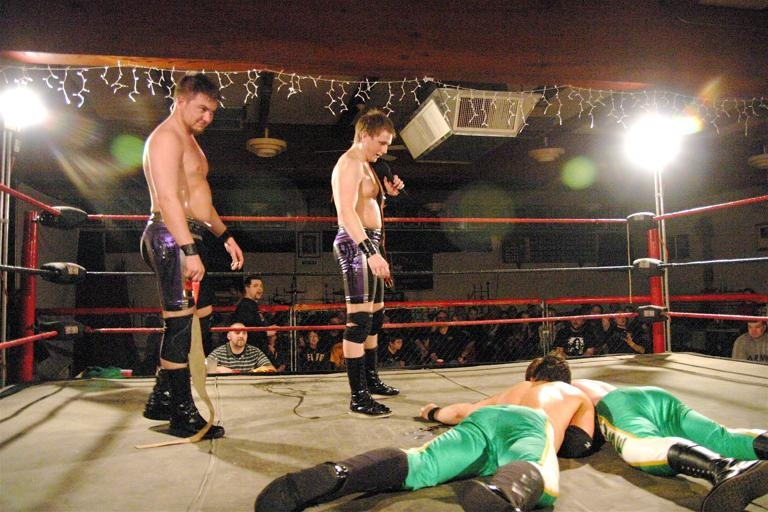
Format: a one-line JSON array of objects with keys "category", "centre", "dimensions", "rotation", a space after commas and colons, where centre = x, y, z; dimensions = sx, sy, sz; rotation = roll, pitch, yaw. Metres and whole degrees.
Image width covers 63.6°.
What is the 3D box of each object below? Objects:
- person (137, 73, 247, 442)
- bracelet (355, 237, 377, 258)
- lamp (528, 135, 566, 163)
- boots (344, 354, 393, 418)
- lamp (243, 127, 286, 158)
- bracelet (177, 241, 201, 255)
[{"category": "person", "centre": [-1.372, -0.014, 4.296], "dimensions": [0.585, 2.483, 0.518], "rotation": [-1, -5, -19]}, {"category": "bracelet", "centre": [-0.116, -0.066, 4.546], "dimensions": [0.149, 0.121, 0.128], "rotation": [2, -17, -27]}, {"category": "lamp", "centre": [2.282, -1.505, 8.663], "dimensions": [0.383, 0.255, 0.421], "rotation": [0, -5, -28]}, {"category": "boots", "centre": [-0.080, 0.945, 4.533], "dimensions": [0.417, 0.390, 0.192], "rotation": [2, -3, 24]}, {"category": "lamp", "centre": [-1.517, -1.430, 8.024], "dimensions": [0.442, 0.272, 0.404], "rotation": [-1, -15, -3]}, {"category": "bracelet", "centre": [-1.292, -0.054, 4.145], "dimensions": [0.109, 0.068, 0.099], "rotation": [1, -9, -20]}]
